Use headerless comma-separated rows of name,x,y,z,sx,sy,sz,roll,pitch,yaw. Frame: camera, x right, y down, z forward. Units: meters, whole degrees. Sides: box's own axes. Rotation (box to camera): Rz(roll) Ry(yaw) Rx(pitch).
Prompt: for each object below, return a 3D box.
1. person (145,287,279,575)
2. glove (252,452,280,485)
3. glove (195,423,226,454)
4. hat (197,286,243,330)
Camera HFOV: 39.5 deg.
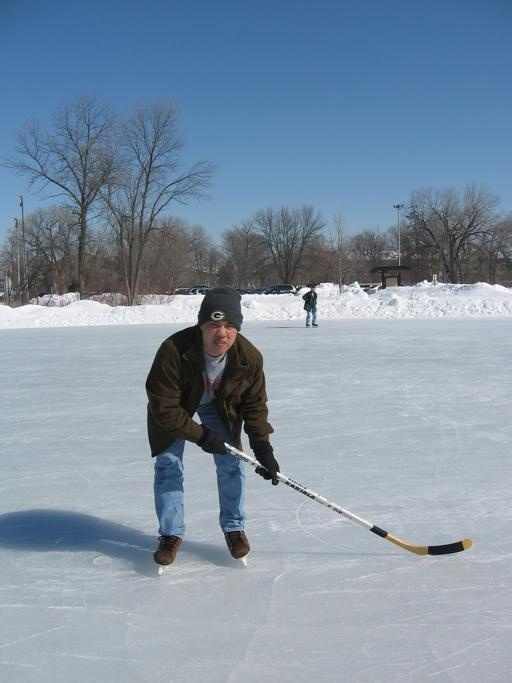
person,-0.162,0.368,3.073,0.718,1.084,0.595,1,1,21
glove,0.049,0.542,3.021,0.054,0.095,0.132,-22,18,-5
glove,-0.189,0.411,2.949,0.130,0.061,0.093,26,35,-12
hat,-0.160,-0.147,2.897,0.184,0.164,0.179,5,9,-13
